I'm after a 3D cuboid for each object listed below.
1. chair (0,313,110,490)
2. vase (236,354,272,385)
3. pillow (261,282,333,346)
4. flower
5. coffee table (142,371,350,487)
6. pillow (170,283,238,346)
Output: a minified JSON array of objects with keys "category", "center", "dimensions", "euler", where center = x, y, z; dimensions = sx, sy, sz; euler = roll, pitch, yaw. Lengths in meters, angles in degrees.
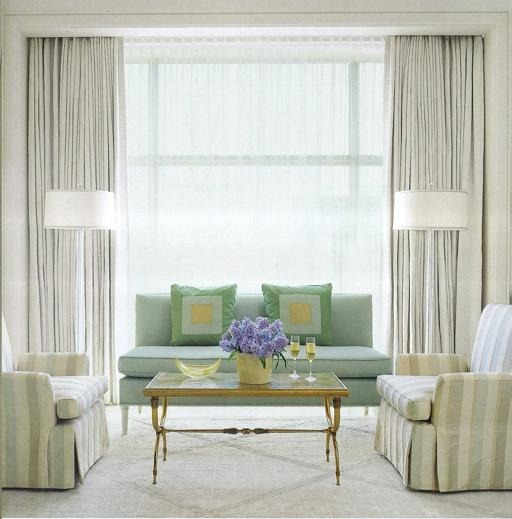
[{"category":"chair","center":[-1.086,0.648,3.731],"dimensions":[0.638,1.036,0.893],"euler":[0,0,-4]},{"category":"vase","center":[-0.011,0.613,3.622],"dimensions":[0.143,0.149,0.173],"euler":[2,-8,-14]},{"category":"pillow","center":[0.305,0.402,4.675],"dimensions":[0.323,0.401,0.126],"euler":[-2,-26,-1]},{"category":"flower","center":[0.004,0.451,3.760],"dimensions":[0.282,0.317,0.318],"euler":[2,-10,1]},{"category":"coffee table","center":[-0.041,0.929,3.880],"dimensions":[1.148,0.540,0.839],"euler":[0,4,0]},{"category":"pillow","center":[-0.402,0.418,4.790],"dimensions":[0.323,0.402,0.127],"euler":[-1,-26,0]}]
